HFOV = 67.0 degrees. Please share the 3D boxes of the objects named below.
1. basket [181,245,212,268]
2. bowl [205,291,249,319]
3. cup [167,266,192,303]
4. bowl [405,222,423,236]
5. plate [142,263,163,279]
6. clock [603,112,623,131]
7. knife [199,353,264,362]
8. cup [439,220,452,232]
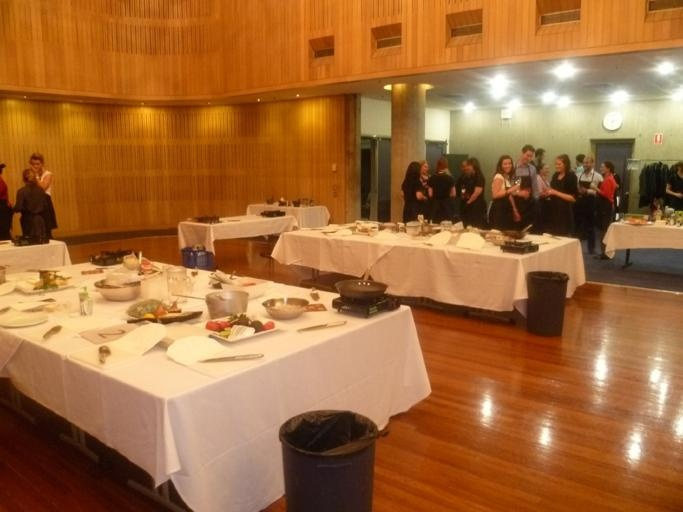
[{"bbox_3d":[-2.256,-0.012,8.106,0.331,0.368,0.409,-7,13,-34],"label":"basket"},{"bbox_3d":[-0.805,0.331,3.658,0.211,0.153,0.228,-1,-1,0],"label":"bowl"},{"bbox_3d":[-1.304,0.222,4.147,0.221,0.372,0.218,2,9,0],"label":"cup"},{"bbox_3d":[0.933,-0.360,6.668,0.164,0.125,0.170,3,14,-1],"label":"bowl"},{"bbox_3d":[-1.708,0.120,4.610,0.160,0.106,0.222,1,6,-8],"label":"plate"},{"bbox_3d":[6.693,-3.363,12.859,0.411,0.430,0.418,28,10,25],"label":"clock"},{"bbox_3d":[-0.649,0.593,3.060,0.368,0.029,0.089,0,14,0],"label":"knife"},{"bbox_3d":[1.336,-0.389,6.656,0.129,0.084,0.130,-3,10,0],"label":"cup"}]
